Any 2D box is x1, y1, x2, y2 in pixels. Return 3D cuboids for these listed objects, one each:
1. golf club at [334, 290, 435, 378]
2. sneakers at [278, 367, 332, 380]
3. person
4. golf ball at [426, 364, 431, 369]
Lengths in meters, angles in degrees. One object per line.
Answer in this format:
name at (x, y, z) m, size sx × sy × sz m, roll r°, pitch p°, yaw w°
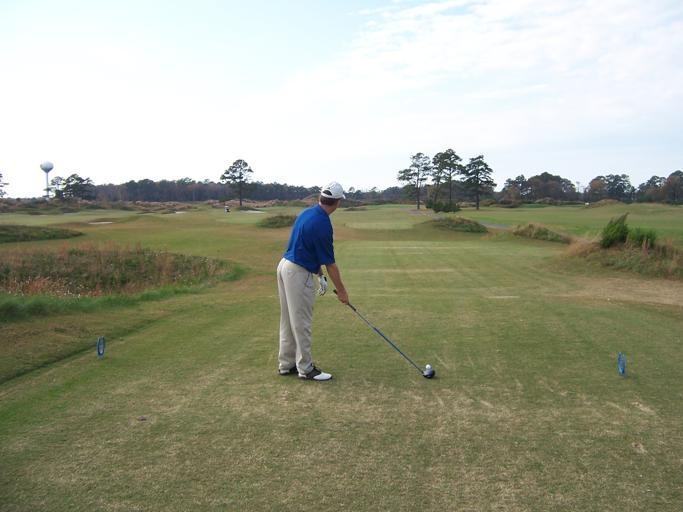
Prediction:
golf club at (0.714, 1.301, 8.437) m, size 1.623 × 0.171 × 0.338 m, roll 38°, pitch 32°, yaw 29°
sneakers at (-0.460, 1.522, 6.823) m, size 0.725 × 0.265 × 0.248 m, roll -1°, pitch -6°, yaw 7°
person at (-0.411, 0.326, 6.725) m, size 0.902 × 2.541 × 0.661 m, roll -2°, pitch 8°, yaw -8°
golf ball at (1.164, 1.470, 6.771) m, size 0.058 × 0.026 × 0.076 m, roll -2°, pitch 1°, yaw 1°
